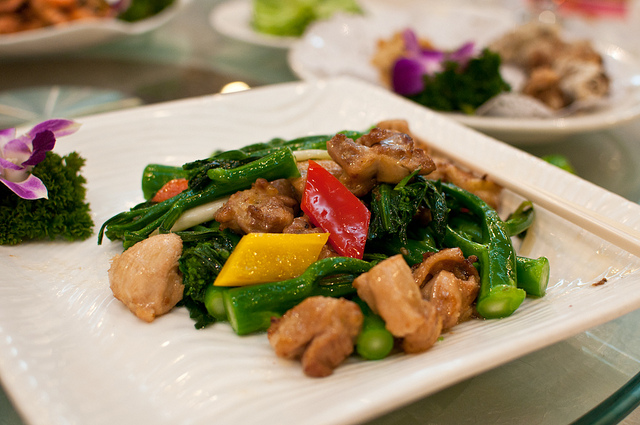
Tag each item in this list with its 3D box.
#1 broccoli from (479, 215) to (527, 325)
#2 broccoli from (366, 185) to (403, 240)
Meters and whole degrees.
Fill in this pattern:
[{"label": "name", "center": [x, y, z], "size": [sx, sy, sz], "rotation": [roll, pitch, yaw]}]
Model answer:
[{"label": "broccoli", "center": [1.190, 0.397, 3.335], "size": [0.245, 0.176, 0.685], "rotation": [-5, 29, 14]}, {"label": "broccoli", "center": [0.430, -0.009, 3.418], "size": [0.245, 0.088, 0.328], "rotation": [1, 70, 11]}]
